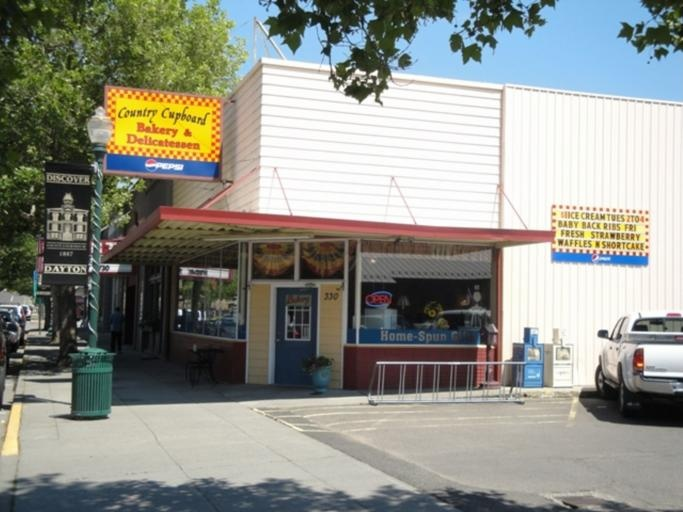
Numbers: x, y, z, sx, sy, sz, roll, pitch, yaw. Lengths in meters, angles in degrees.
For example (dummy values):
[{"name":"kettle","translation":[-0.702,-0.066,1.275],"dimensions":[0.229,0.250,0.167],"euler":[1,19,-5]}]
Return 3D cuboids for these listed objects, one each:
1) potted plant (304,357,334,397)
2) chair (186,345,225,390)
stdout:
[{"name":"potted plant","translation":[-0.506,2.926,17.614],"dimensions":[0.744,0.956,0.813],"euler":[7,-17,-26]},{"name":"chair","translation":[-3.700,2.934,19.199],"dimensions":[0.975,1.311,1.314],"euler":[3,-6,-17]}]
